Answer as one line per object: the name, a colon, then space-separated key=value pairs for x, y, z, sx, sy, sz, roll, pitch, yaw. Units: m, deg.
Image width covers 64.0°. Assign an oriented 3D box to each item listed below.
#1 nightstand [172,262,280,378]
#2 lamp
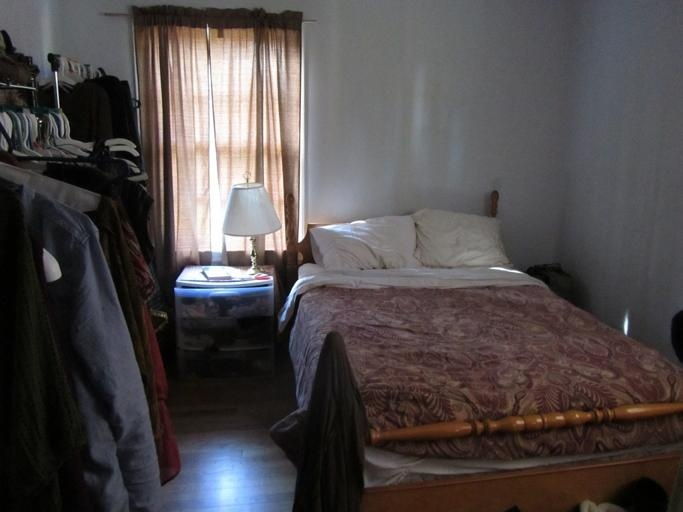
nightstand: x=-0.723 y=0.389 z=3.535 sx=0.602 sy=0.600 sz=0.622 roll=-1 pitch=5 yaw=-6
lamp: x=-0.574 y=-0.197 z=3.599 sx=0.408 sy=0.574 sz=0.396 roll=-1 pitch=11 yaw=-10
